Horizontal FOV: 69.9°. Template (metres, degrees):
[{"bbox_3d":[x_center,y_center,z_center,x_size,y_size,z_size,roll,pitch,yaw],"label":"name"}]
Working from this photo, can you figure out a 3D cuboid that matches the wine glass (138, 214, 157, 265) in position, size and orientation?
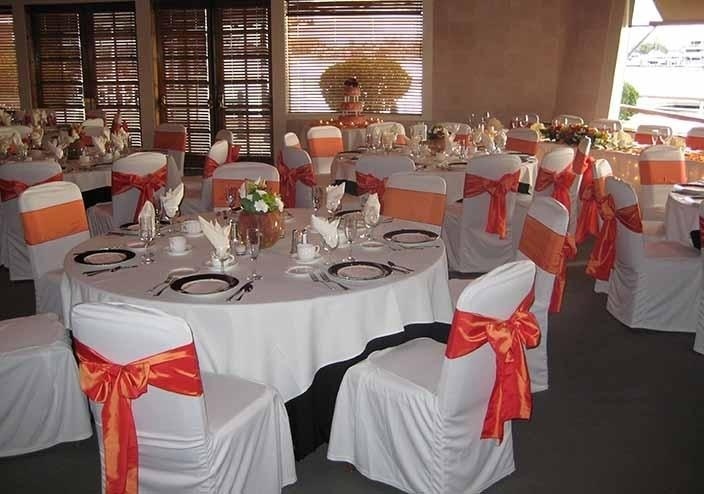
[{"bbox_3d":[-1.116,-0.071,2.771,0.082,0.249,0.312,-7,16,-21],"label":"wine glass"}]

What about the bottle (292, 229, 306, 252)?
[{"bbox_3d":[-0.281,-0.028,2.707,0.111,0.138,0.059,0,6,-15],"label":"bottle"}]

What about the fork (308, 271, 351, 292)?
[{"bbox_3d":[-0.119,0.170,2.456,0.077,0.033,0.262,-19,30,-27],"label":"fork"}]

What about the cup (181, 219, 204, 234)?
[{"bbox_3d":[-0.986,-0.115,3.146,0.119,0.091,0.088,-15,26,-34],"label":"cup"}]

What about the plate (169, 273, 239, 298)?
[{"bbox_3d":[-0.686,0.176,2.367,0.292,0.044,0.240,9,19,34],"label":"plate"}]

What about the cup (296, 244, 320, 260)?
[{"bbox_3d":[-0.234,0.017,2.666,0.099,0.075,0.081,-3,16,-12],"label":"cup"}]

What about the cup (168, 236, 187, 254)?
[{"bbox_3d":[-0.968,-0.010,2.824,0.097,0.080,0.077,-1,18,-10],"label":"cup"}]

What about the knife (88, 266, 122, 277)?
[{"bbox_3d":[-1.267,0.126,2.569,0.186,0.024,0.054,-4,38,0],"label":"knife"}]

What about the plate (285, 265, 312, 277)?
[{"bbox_3d":[-0.262,0.130,2.539,0.136,0.020,0.120,-3,15,-4],"label":"plate"}]

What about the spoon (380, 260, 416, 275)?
[{"bbox_3d":[0.248,0.110,2.605,0.054,0.024,0.157,-6,14,-28],"label":"spoon"}]

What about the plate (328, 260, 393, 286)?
[{"bbox_3d":[0.031,0.120,2.543,0.157,0.020,0.160,-9,23,-25],"label":"plate"}]

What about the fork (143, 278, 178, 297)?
[{"bbox_3d":[-0.899,0.186,2.392,0.047,0.012,0.152,7,15,2],"label":"fork"}]

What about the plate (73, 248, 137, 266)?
[{"bbox_3d":[-1.316,0.054,2.691,0.312,0.034,0.237,-5,16,-11],"label":"plate"}]
